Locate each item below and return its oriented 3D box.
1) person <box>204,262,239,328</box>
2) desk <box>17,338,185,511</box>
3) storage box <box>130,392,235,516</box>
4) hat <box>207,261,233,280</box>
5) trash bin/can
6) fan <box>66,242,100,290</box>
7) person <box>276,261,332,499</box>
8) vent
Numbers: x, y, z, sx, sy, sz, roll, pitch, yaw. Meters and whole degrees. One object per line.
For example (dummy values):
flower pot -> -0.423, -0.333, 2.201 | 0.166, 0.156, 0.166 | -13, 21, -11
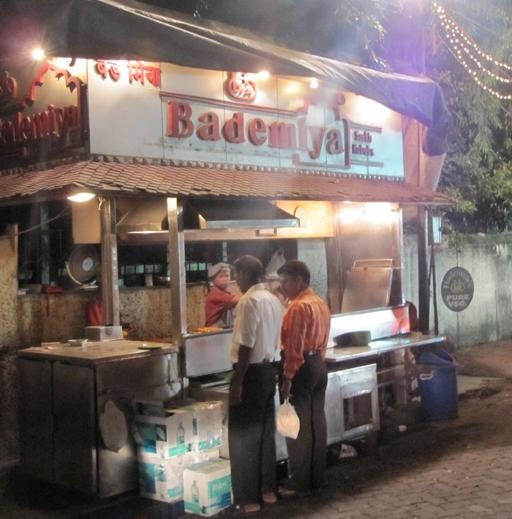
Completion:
person -> -0.455, 0.471, 7.285 | 0.349, 0.954, 0.373 | -2, 8, -39
desk -> -1.496, 1.235, 5.626 | 1.057, 1.627, 1.434 | -2, -1, 34
storage box -> -0.599, 1.784, 5.201 | 0.629, 1.197, 0.729 | -2, -1, 39
hat -> -0.500, 0.162, 7.322 | 0.221, 0.121, 0.203 | -24, -3, 34
trash bin/can -> 2.427, 1.701, 7.674 | 0.547, 0.949, 0.542 | 1, -2, -38
fan -> -2.385, 0.100, 7.857 | 0.361, 0.788, 0.351 | 6, 5, 38
person -> 0.389, 1.066, 5.280 | 0.590, 1.974, 0.524 | 0, -1, 39
vent -> -0.706, -0.529, 6.708 | 2.085, 0.460, 1.461 | -1, 0, 34
